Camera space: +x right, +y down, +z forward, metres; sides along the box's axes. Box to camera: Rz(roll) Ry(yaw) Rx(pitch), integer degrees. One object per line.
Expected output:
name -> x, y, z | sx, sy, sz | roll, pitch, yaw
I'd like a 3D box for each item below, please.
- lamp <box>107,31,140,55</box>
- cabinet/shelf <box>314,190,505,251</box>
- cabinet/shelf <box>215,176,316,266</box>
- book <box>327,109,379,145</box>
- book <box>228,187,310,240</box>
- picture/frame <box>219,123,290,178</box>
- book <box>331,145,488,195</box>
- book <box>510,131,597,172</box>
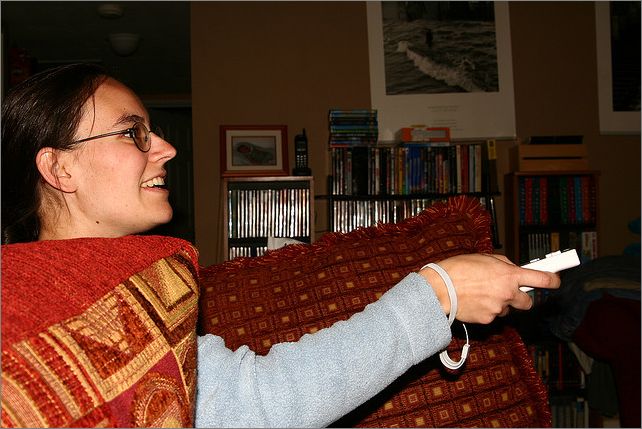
lamp -> -1.744, -1.516, 4.536 | 0.260, 0.168, 0.203 | -2, 1, -6
cabinet/shelf -> 0.447, 0.150, 3.593 | 1.267, 0.485, 0.394 | -2, -5, -7
cabinet/shelf -> -0.346, 0.022, 3.288 | 0.570, 0.613, 0.230 | 0, 1, -1
book -> 0.229, -0.627, 3.696 | 0.263, 0.283, 0.092 | 1, -2, 2
book -> -0.371, 0.075, 3.747 | 0.562, 0.581, 0.331 | 2, -9, -4
picture/frame -> -0.506, -0.468, 3.839 | 0.410, 0.363, 0.032 | -2, -23, -11
book -> 0.631, -0.328, 3.516 | 1.055, 0.364, 0.370 | 0, 0, -1
book -> 1.658, -0.425, 3.679 | 0.413, 0.215, 0.301 | 0, -1, 5
